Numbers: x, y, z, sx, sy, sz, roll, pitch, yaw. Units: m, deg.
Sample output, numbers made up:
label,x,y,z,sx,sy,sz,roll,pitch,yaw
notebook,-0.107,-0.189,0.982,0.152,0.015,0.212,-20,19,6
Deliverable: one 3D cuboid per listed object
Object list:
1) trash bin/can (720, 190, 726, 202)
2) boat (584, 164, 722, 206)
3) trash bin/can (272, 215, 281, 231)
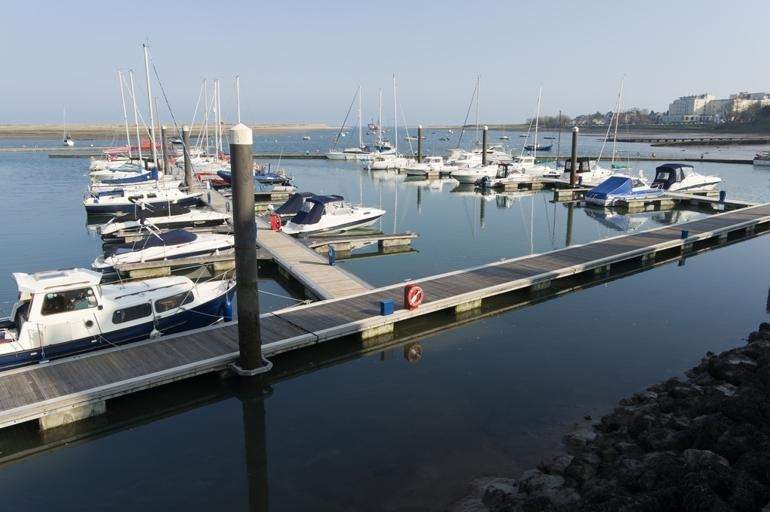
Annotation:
label,x,y,z,sx,sy,sz,roll,pitch,yaw
trash bin/can,19.273,-3.430,35.668,0.258,0.620,0.604,9,19,20
boat,16.854,-4.455,39.561,8.898,2.227,2.189,-7,20,-26
trash bin/can,-4.994,-1.538,28.673,0.421,0.684,0.474,-2,19,-13
